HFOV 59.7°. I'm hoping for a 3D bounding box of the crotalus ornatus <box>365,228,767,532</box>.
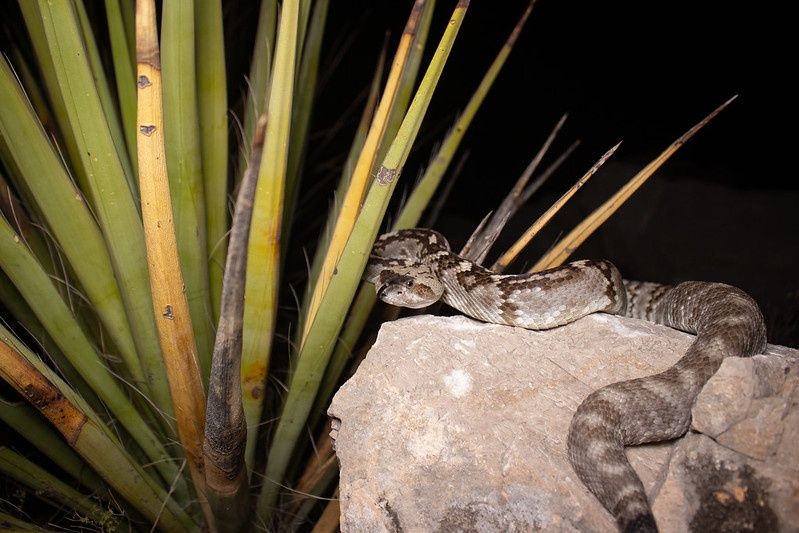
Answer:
[{"bbox_3d":[0.724,0.182,2.855,1.053,0.613,1.568,-13,47,-39],"label":"crotalus ornatus"}]
